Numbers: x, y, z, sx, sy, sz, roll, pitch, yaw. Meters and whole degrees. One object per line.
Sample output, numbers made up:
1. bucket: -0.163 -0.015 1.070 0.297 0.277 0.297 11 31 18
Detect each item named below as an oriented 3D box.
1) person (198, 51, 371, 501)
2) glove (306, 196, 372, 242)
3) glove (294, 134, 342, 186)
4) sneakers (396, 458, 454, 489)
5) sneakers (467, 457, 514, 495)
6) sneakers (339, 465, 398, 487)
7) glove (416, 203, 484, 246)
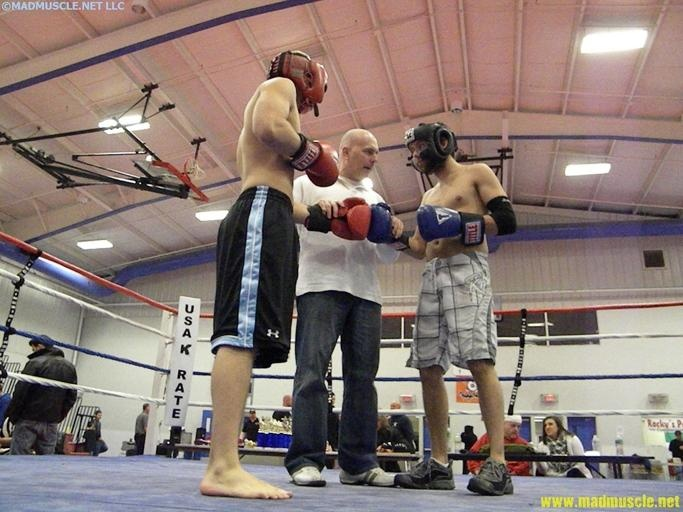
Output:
1. person: -0.250 -0.077 1.711 0.424 1.742 0.493 10 -23 -16
2. glove: -0.012 -0.171 2.039 0.249 0.181 0.103 12 -48 -6
3. glove: -0.140 -0.355 1.748 0.202 0.150 0.090 41 -61 2
4. sneakers: 0.359 0.963 1.980 0.280 0.111 0.107 5 -28 -5
5. sneakers: 0.587 0.868 1.757 0.095 0.100 0.236 -16 -31 34
6. sneakers: 0.111 1.029 2.112 0.287 0.107 0.094 -4 -28 11
7. glove: 0.510 -0.142 2.121 0.241 0.110 0.222 6 -6 1
